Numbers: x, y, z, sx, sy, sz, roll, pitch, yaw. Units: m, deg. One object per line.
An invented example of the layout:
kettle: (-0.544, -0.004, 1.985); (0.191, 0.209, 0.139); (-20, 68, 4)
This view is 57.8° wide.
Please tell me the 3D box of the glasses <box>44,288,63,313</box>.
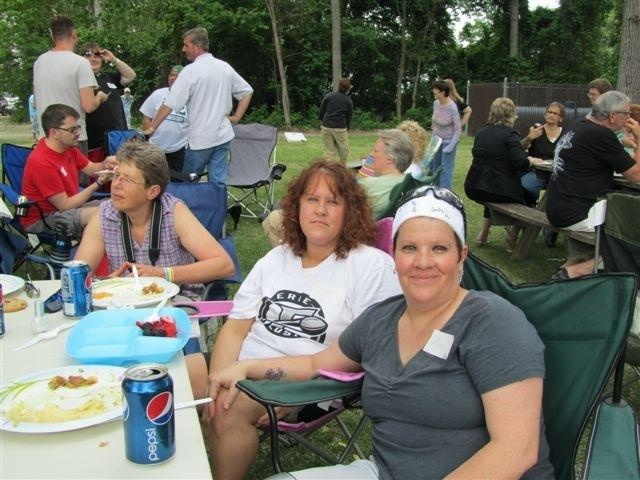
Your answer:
glasses: (-1.189, 0.269, 2.597); (0.071, 0.044, 0.110); (6, 40, 1)

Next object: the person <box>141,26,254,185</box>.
person: (-1.377, -1.236, 6.519); (1.185, 2.201, 0.487); (-5, 31, -21)

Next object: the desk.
desk: (2.130, -0.260, 4.925); (0.498, 0.481, 0.928); (-16, 27, -33)

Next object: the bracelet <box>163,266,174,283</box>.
bracelet: (-0.813, 0.184, 3.109); (0.062, 0.065, 0.064); (10, 4, 20)

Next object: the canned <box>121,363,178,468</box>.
canned: (-0.491, 0.496, 1.661); (0.145, 0.249, 0.134); (-1, 12, -14)

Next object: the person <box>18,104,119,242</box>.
person: (-2.042, -0.412, 4.906); (0.921, 1.325, 0.608); (2, 22, -15)
